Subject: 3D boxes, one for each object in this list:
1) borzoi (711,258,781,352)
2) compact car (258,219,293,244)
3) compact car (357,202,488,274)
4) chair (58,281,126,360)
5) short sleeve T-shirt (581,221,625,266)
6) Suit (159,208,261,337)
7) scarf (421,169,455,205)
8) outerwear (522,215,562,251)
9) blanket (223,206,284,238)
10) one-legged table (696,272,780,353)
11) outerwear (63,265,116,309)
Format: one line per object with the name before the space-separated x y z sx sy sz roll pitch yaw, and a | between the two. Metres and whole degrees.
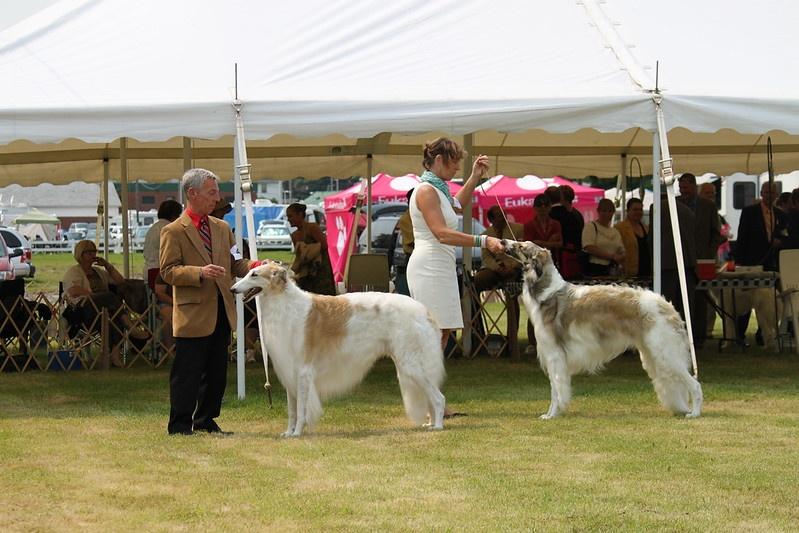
borzoi | 5.762 0.748 18.425 0.571 1.246 2.214 3 1 -17
compact car | -5.600 -1.462 49.405 1.712 1.359 3.045 -1 -1 -10
compact car | -0.168 -0.606 26.589 1.527 1.527 2.695 -2 13 -18
chair | -4.514 0.893 16.975 0.722 1.213 0.743 -2 -5 27
short sleeve T-shirt | 3.129 -0.324 17.279 0.728 0.697 0.400 10 -13 -24
Suit | -2.200 0.086 12.587 0.926 1.398 0.562 -3 7 -19
scarf | 0.439 -0.940 13.108 0.395 0.173 0.315 35 6 24
outerwear | 2.185 -0.483 17.256 0.668 0.586 0.403 1 -10 -8
blanket | -4.109 -1.222 32.532 1.829 1.309 1.014 -1 -3 -4
one-legged table | 5.664 0.696 18.279 0.538 1.290 2.025 -2 1 -29
outerwear | -4.747 0.309 17.204 0.461 0.659 0.915 -14 -6 32
